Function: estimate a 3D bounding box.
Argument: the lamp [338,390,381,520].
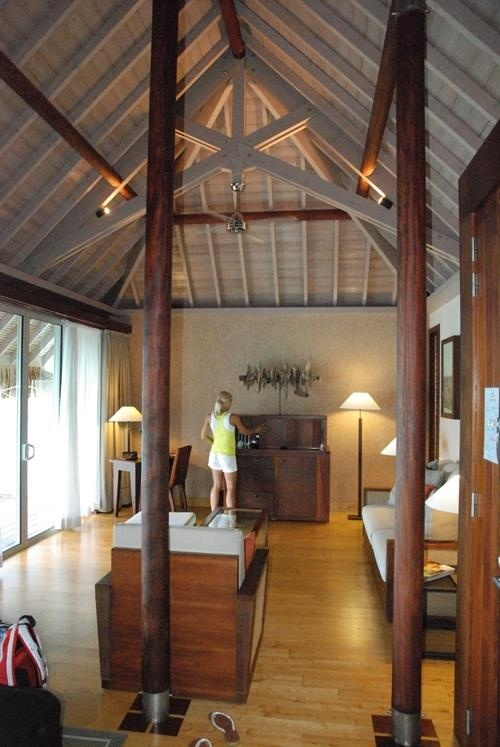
[{"bbox_3d":[1.401,1.088,7.310,0.468,1.586,0.508,0,-2,10],"label":"lamp"}]

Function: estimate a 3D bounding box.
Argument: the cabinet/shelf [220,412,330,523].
[{"bbox_3d":[0.364,1.125,7.112,1.134,1.271,0.464,0,-2,15],"label":"cabinet/shelf"}]

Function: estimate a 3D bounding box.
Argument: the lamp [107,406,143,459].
[{"bbox_3d":[-1.569,0.740,7.262,0.397,0.667,0.412,-10,-18,39],"label":"lamp"}]

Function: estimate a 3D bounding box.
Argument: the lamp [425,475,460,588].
[{"bbox_3d":[1.069,0.868,3.212,0.160,0.767,1.231,0,-2,19],"label":"lamp"}]

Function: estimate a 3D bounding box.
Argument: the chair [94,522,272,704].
[{"bbox_3d":[-0.339,1.234,3.275,0.649,0.870,0.935,0,-3,5],"label":"chair"}]

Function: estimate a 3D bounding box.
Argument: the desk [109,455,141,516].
[{"bbox_3d":[-1.541,1.399,7.045,0.454,0.753,0.471,8,-18,-30],"label":"desk"}]
